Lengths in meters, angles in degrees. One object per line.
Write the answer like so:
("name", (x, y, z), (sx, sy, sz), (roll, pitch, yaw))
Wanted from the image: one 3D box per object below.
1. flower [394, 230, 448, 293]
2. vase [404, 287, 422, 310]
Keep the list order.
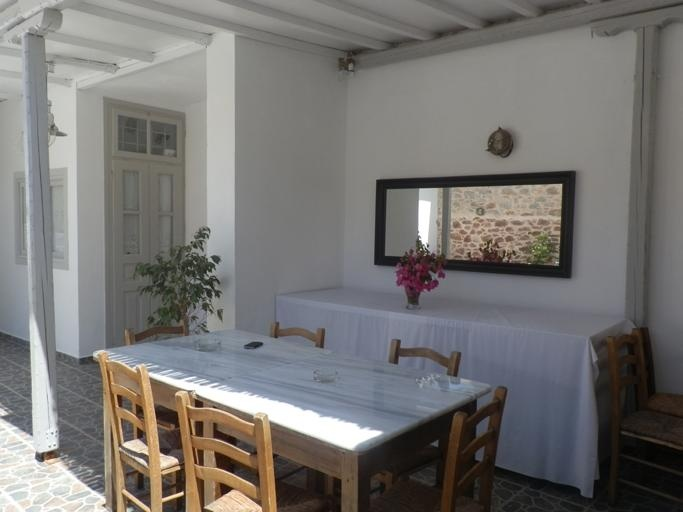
("flower", (0.782, -0.019, 5.144), (0.489, 0.601, 0.497), (11, 16, 38))
("vase", (0.654, 0.410, 5.084), (0.161, 0.223, 0.176), (0, -1, 1))
